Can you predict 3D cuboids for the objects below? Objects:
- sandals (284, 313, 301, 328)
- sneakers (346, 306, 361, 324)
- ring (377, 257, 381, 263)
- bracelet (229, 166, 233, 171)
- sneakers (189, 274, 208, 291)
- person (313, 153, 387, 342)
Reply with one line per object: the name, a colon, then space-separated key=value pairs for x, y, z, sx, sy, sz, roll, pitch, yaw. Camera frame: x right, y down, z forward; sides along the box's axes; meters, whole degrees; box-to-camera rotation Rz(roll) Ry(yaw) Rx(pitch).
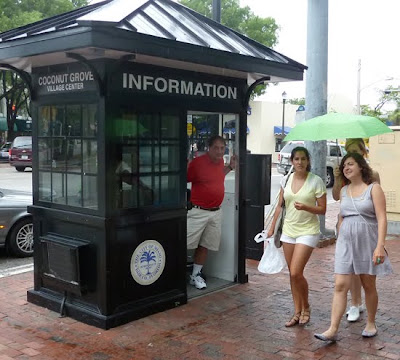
sandals: x=0.972 y=1.486 z=4.060 sx=0.079 sy=0.095 sz=0.222 roll=-3 pitch=-5 yaw=41
sneakers: x=1.649 y=1.462 z=4.181 sx=0.083 sy=0.107 sz=0.238 roll=-2 pitch=-2 yaw=23
ring: x=1.582 y=0.708 z=3.398 sx=0.030 sy=0.043 sz=0.019 roll=0 pitch=17 yaw=8
bracelet: x=0.415 y=-0.169 z=5.344 sx=0.055 sy=0.070 sz=0.097 roll=-1 pitch=-4 yaw=5
sneakers: x=-0.031 y=1.409 z=5.329 sx=0.111 sy=0.122 sz=0.281 roll=0 pitch=1 yaw=-34
person: x=1.480 y=0.634 z=3.728 sx=0.637 sy=1.815 sz=0.689 roll=1 pitch=1 yaw=25
